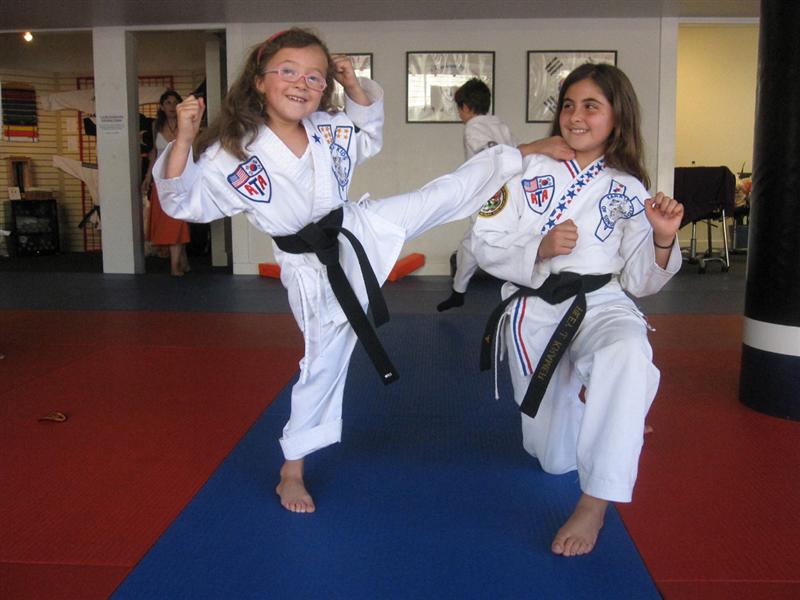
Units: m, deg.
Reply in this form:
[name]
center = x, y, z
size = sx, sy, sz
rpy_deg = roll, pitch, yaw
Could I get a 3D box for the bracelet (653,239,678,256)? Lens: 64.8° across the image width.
[bracelet]
center = 1.024, -0.213, 2.451
size = 0.079, 0.052, 0.046
rpy_deg = 3, 11, 15

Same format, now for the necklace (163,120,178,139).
[necklace]
center = -2.490, -1.857, 6.885
size = 0.175, 0.277, 0.082
rpy_deg = -4, -6, 24

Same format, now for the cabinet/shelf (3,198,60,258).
[cabinet/shelf]
center = -5.188, -1.049, 9.037
size = 0.390, 0.807, 0.668
rpy_deg = 10, 14, 44

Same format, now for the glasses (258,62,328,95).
[glasses]
center = -0.374, -0.788, 2.248
size = 0.212, 0.091, 0.084
rpy_deg = -2, 11, -11
